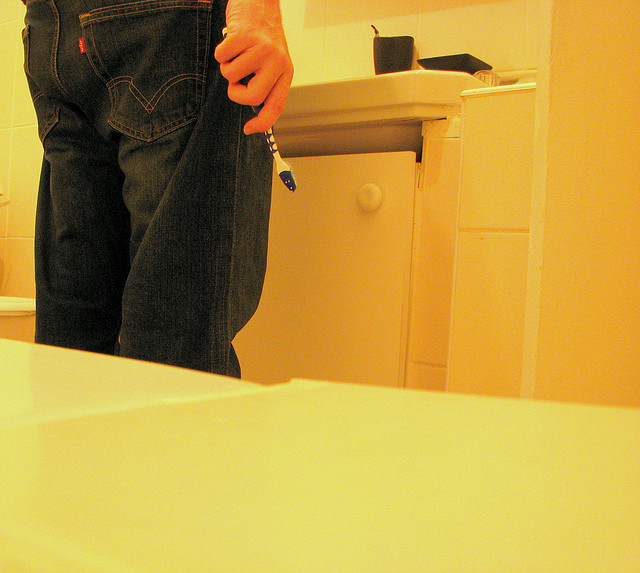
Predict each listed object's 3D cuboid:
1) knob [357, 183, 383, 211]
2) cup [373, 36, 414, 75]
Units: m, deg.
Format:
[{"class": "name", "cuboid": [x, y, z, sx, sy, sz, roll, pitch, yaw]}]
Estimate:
[{"class": "knob", "cuboid": [0.071, -0.133, 0.984, 0.040, 0.034, 0.034, -4, -40, 16]}, {"class": "cup", "cuboid": [0.149, -0.486, 1.390, 0.080, 0.055, 0.067, 3, -38, 7]}]
